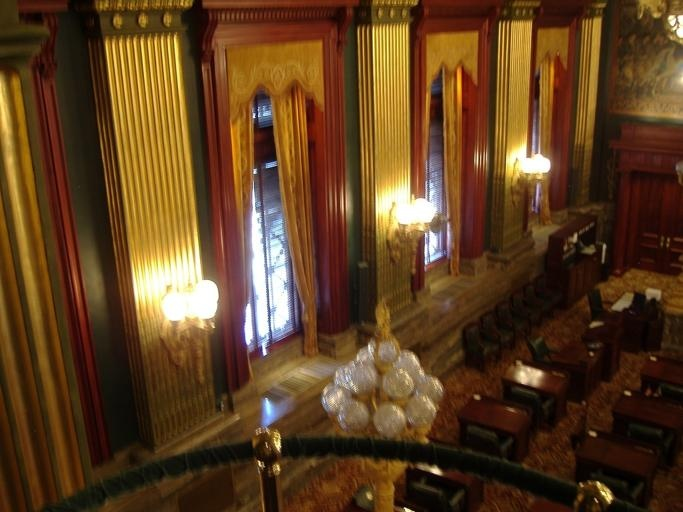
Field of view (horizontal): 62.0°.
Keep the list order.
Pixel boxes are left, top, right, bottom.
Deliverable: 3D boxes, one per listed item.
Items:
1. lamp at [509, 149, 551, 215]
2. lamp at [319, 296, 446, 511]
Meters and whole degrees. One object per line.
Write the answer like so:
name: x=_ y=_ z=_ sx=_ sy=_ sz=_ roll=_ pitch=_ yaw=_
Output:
lamp: x=3.884 y=-1.395 z=11.651 sx=0.565 sy=1.313 sz=0.611 roll=-10 pitch=18 yaw=-38
lamp: x=0.265 y=1.144 z=4.265 sx=0.929 sy=1.621 sz=1.625 roll=0 pitch=-14 yaw=12
